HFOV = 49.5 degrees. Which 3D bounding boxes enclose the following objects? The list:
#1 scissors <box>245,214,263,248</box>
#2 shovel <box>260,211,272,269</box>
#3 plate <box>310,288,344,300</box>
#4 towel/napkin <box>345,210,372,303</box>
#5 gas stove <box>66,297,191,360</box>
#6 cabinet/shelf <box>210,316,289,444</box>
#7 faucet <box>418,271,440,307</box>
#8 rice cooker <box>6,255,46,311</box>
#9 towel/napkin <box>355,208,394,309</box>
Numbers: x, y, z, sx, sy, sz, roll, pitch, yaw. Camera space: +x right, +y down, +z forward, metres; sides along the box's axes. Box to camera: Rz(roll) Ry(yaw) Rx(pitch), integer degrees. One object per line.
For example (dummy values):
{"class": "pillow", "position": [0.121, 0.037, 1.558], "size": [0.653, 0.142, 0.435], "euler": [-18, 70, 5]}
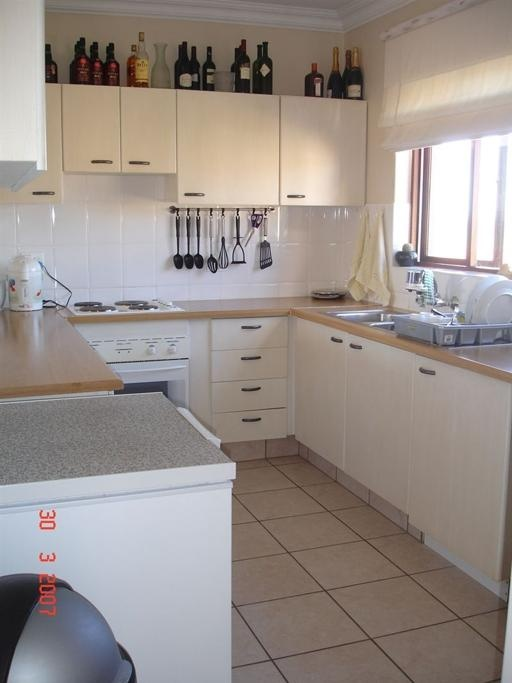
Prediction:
{"class": "scissors", "position": [-0.017, -0.788, 3.909], "size": [0.122, 0.225, 0.035], "euler": [-3, 8, -20]}
{"class": "shovel", "position": [0.063, -0.710, 3.923], "size": [0.102, 0.390, 0.029], "euler": [-20, 33, -27]}
{"class": "plate", "position": [0.512, -0.337, 3.945], "size": [0.225, 0.072, 0.150], "euler": [1, 8, 7]}
{"class": "towel/napkin", "position": [0.675, -0.563, 3.711], "size": [0.149, 0.579, 0.121], "euler": [-3, 15, -14]}
{"class": "gas stove", "position": [-0.757, -0.051, 3.362], "size": [0.681, 0.330, 0.312], "euler": [-3, 8, -19]}
{"class": "cabinet/shelf", "position": [-0.105, 0.179, 3.742], "size": [0.534, 0.818, 0.480], "euler": [-3, 9, -20]}
{"class": "faucet", "position": [0.783, -0.242, 2.513], "size": [0.098, 0.165, 0.072], "euler": [0, 8, 2]}
{"class": "rice cooker", "position": [-1.338, -0.335, 3.214], "size": [0.181, 0.321, 0.191], "euler": [-4, 9, -24]}
{"class": "towel/napkin", "position": [0.760, -0.565, 3.622], "size": [0.106, 0.658, 0.345], "euler": [-4, 8, -23]}
